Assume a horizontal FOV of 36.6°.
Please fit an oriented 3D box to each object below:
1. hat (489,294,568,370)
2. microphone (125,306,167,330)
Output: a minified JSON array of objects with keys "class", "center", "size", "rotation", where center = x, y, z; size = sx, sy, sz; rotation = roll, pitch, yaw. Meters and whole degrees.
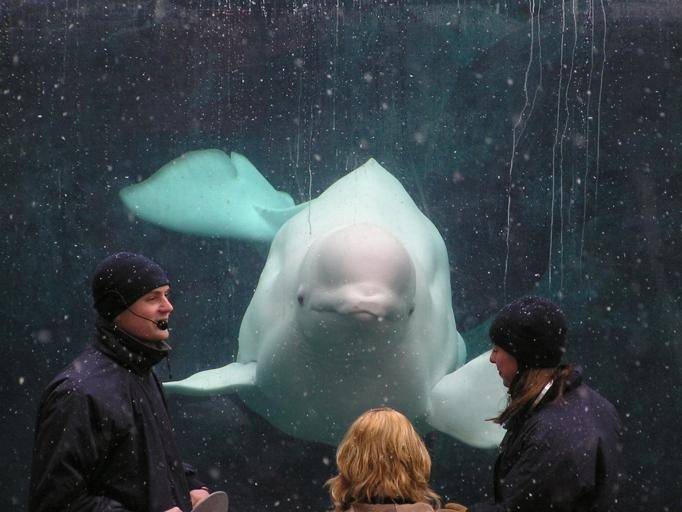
[{"class":"hat","center":[1.152,0.421,6.395],"size":[0.360,0.429,0.473],"rotation":[-13,15,-34]},{"class":"microphone","center":[-1.167,0.394,6.211],"size":[0.197,0.056,0.116],"rotation":[34,-5,-13]}]
